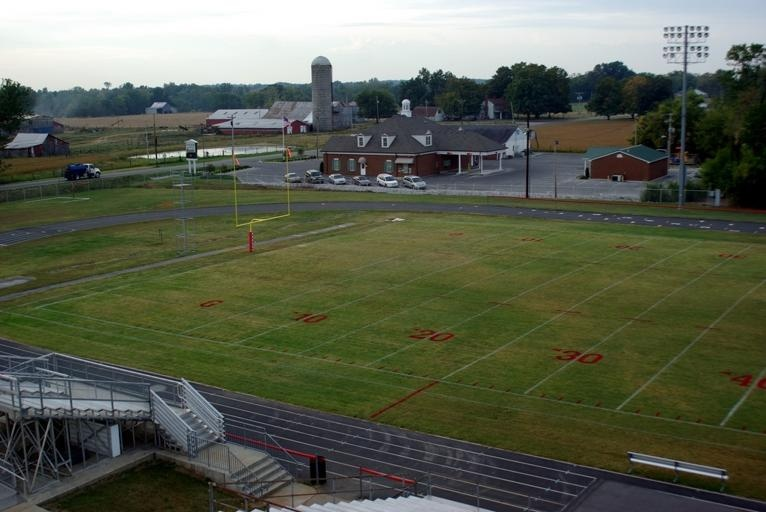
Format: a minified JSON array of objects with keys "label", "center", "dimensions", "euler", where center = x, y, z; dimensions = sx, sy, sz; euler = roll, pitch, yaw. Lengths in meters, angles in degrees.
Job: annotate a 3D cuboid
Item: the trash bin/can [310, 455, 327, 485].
[{"label":"trash bin/can","center":[-2.629,8.701,29.132],"dimensions":[0.707,1.151,0.794],"euler":[-3,13,-6]}]
